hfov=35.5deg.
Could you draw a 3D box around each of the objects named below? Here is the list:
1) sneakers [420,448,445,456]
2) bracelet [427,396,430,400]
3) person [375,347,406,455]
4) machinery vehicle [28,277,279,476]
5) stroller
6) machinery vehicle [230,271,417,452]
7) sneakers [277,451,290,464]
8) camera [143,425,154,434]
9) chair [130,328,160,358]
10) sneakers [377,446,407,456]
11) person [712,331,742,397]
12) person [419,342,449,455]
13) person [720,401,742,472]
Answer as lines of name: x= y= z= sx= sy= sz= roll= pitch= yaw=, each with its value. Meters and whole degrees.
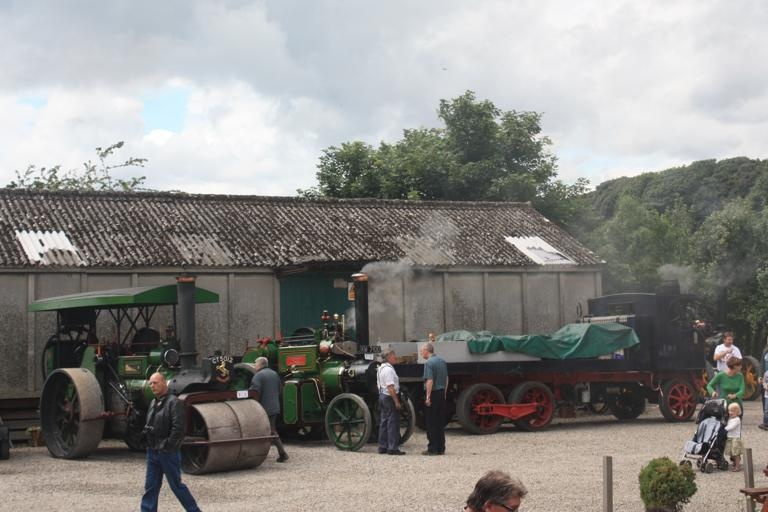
sneakers: x=1.111 y=4.554 z=27.951 sx=0.541 sy=0.237 sz=0.202 roll=2 pitch=0 yaw=31
bracelet: x=1.006 y=3.294 z=27.968 sx=0.054 sy=0.078 sz=0.020 roll=1 pitch=-6 yaw=-12
person: x=0.064 y=3.401 z=28.172 sx=0.594 sy=2.502 sz=0.812 roll=-3 pitch=-6 yaw=-4
machinery vehicle: x=-6.060 y=2.820 z=28.723 sx=7.305 sy=4.186 sz=3.478 roll=-3 pitch=-4 yaw=44
stroller: x=7.166 y=3.928 z=26.458 sx=1.031 sy=1.575 sz=0.804 roll=2 pitch=-1 yaw=-33
machinery vehicle: x=-1.817 y=2.754 z=30.296 sx=4.912 sy=3.756 sz=1.959 roll=-2 pitch=-2 yaw=40
sneakers: x=-2.379 y=4.574 z=27.357 sx=0.296 sy=0.223 sz=0.296 roll=-3 pitch=-7 yaw=-7
camera: x=-4.738 y=3.417 z=23.717 sx=0.108 sy=0.127 sz=0.320 roll=6 pitch=-15 yaw=-23
chair: x=-5.992 y=2.060 z=29.554 sx=0.571 sy=0.709 sz=0.798 roll=4 pitch=-20 yaw=-11
sneakers: x=0.125 y=4.528 z=28.016 sx=0.598 sy=0.258 sz=0.215 roll=0 pitch=0 yaw=-4
person: x=8.790 y=2.949 z=30.376 sx=0.641 sy=1.981 sz=0.641 roll=-1 pitch=9 yaw=11
person: x=1.175 y=3.337 z=28.176 sx=0.483 sy=2.599 sz=0.575 roll=-7 pitch=-7 yaw=30
person: x=7.754 y=3.964 z=26.469 sx=0.420 sy=1.452 sz=0.764 roll=-5 pitch=-7 yaw=15
